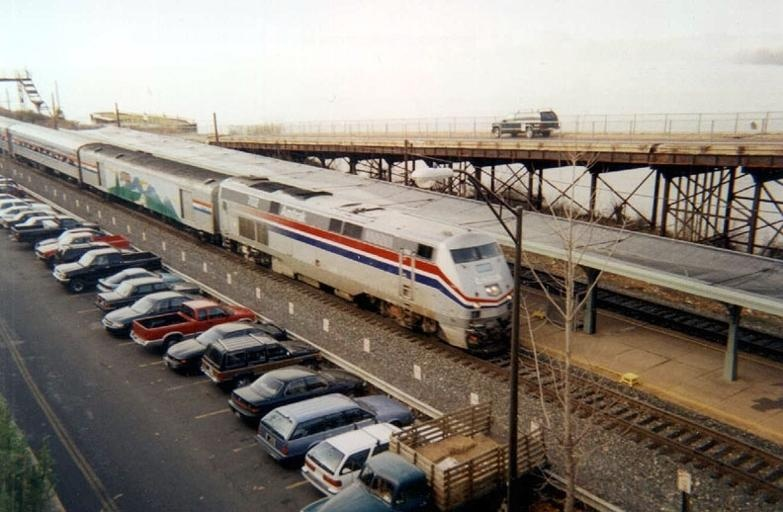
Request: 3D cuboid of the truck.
[{"bbox_3d":[0.553,6.575,19.899,7.414,1.370,3.190,-8,13,-37],"label":"truck"}]
